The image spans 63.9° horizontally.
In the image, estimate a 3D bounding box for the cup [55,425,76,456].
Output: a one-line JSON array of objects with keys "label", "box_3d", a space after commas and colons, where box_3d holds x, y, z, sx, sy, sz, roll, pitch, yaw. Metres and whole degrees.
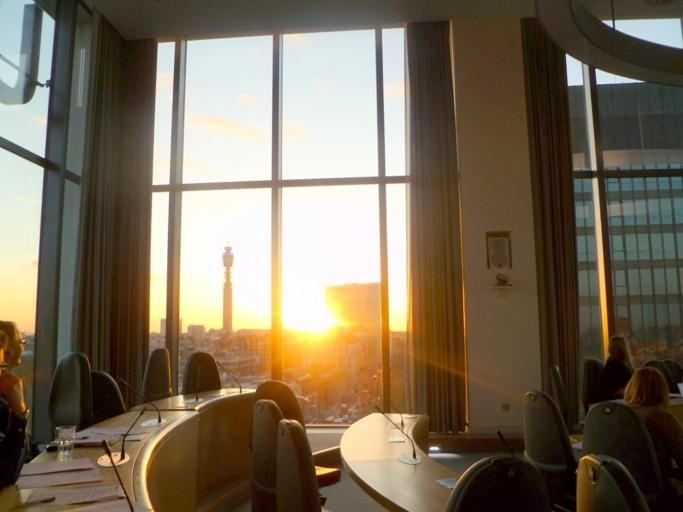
[{"label": "cup", "box_3d": [-1.786, 1.179, 3.533, 0.101, 0.192, 0.174, 1, -4, -30]}]
